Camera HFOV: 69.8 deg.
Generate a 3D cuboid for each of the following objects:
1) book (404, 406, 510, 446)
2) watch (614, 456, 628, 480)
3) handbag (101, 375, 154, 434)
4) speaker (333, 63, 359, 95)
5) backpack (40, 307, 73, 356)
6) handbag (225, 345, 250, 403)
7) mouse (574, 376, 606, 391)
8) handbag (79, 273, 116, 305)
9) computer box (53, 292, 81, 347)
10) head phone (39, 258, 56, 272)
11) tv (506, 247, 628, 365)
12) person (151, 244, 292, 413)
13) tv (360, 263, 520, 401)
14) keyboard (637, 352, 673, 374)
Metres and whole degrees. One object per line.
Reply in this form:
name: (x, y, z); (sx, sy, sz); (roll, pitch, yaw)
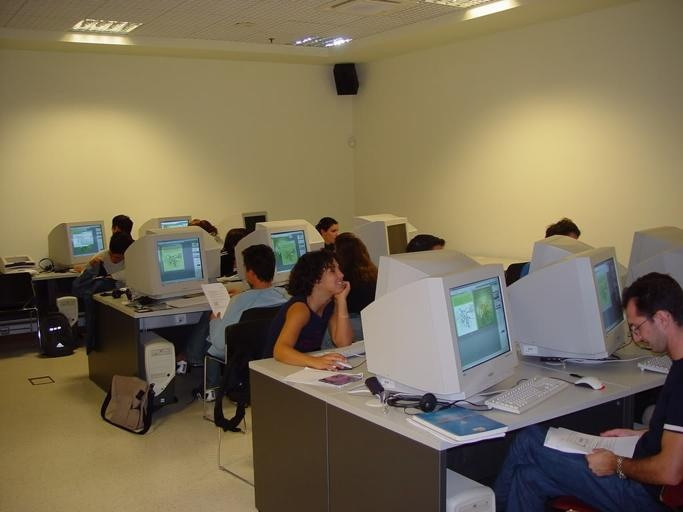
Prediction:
book: (0.475, 0.690, 2.002); (0.333, 0.039, 0.246); (-4, 9, -22)
watch: (1.157, 0.880, 2.026); (0.021, 0.071, 0.050); (-11, -27, 17)
handbag: (-1.745, 1.212, 4.017); (0.440, 0.400, 0.225); (13, -2, 9)
speaker: (0.082, -3.416, 9.376); (0.600, 0.485, 0.879); (2, 32, 2)
backpack: (-3.409, 0.981, 5.805); (0.317, 0.507, 0.269); (-6, -19, -41)
handbag: (-0.674, 0.760, 3.166); (0.102, 0.312, 0.206); (5, 4, 39)
mouse: (1.237, 0.624, 2.429); (0.065, 0.031, 0.088); (-8, 11, -41)
handbag: (-2.587, 0.353, 5.283); (0.308, 0.152, 0.428); (9, 12, 37)
computer box: (-3.434, 0.805, 6.332); (0.369, 0.604, 0.350); (-3, 9, -18)
head phone: (-4.206, 0.124, 6.928); (0.238, 0.103, 0.282); (-6, 24, -44)
tv: (1.385, 0.252, 3.006); (0.647, 0.607, 0.598); (-7, -1, -41)
person: (-0.869, 0.616, 4.157); (0.674, 1.437, 0.874); (1, 10, -44)
tv: (0.519, 0.340, 2.437); (0.606, 0.603, 0.596); (-7, 10, -32)
keyboard: (1.751, 0.603, 2.719); (0.158, 0.053, 0.160); (4, 8, 43)
